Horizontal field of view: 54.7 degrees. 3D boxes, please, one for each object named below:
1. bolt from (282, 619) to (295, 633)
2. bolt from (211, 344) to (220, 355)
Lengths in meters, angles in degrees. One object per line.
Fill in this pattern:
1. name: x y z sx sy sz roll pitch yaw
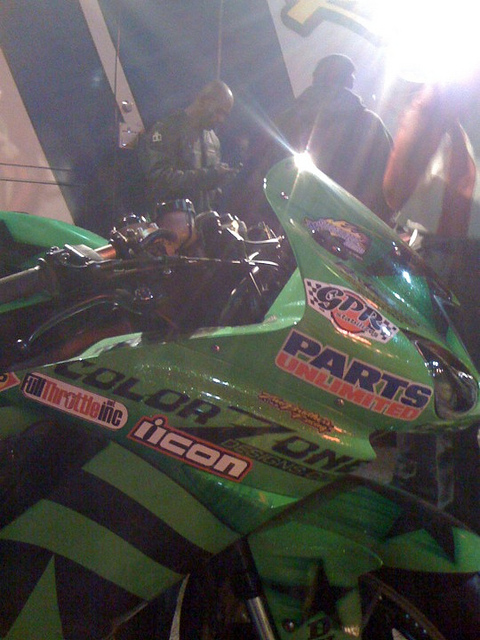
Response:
1. bolt: 0.113 0.722 1.090 0.031 0.033 0.009 -15 6 17
2. bolt: -0.055 0.066 1.031 0.020 0.021 0.005 1 4 -15
